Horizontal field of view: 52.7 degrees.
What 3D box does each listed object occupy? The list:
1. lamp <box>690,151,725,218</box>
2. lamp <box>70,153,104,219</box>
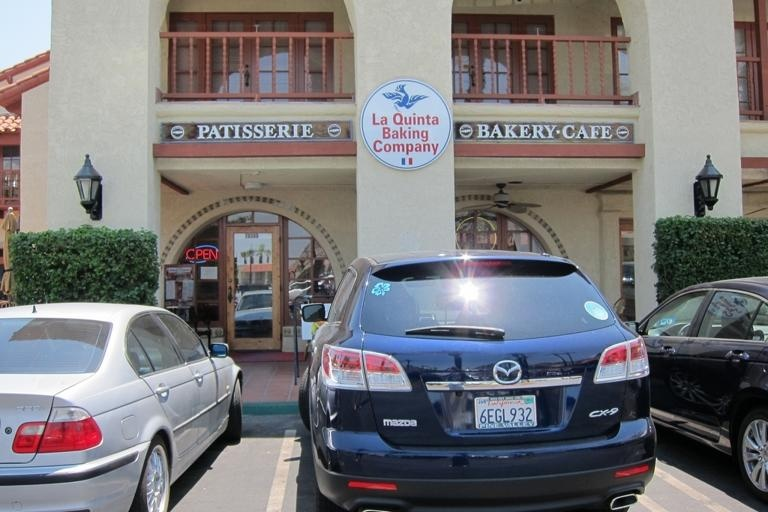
[{"bbox_3d":[5.854,-1.308,14.090,0.448,1.072,0.632,-4,6,0],"label":"lamp"},{"bbox_3d":[-5.122,-1.152,13.461,0.389,1.232,0.478,0,-1,-1],"label":"lamp"}]
